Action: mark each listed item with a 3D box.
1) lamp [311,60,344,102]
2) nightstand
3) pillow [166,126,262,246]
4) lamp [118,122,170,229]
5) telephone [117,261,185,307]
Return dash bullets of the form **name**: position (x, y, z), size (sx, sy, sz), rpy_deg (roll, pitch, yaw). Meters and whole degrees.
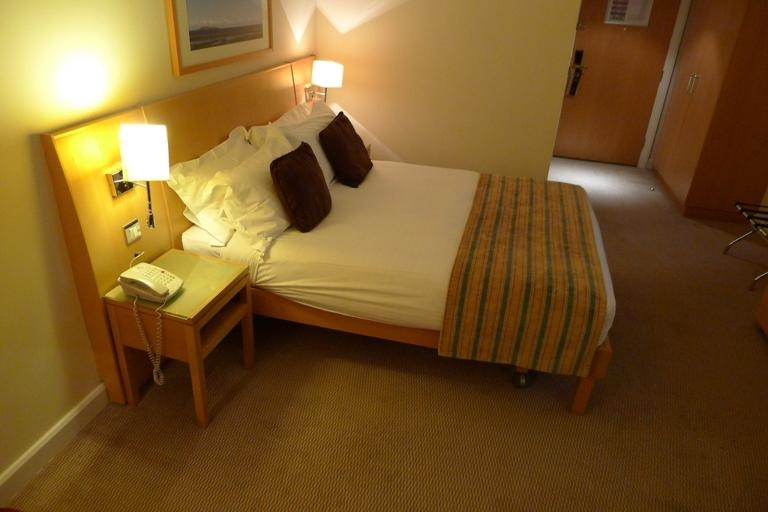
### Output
- **lamp**: position (-0.532, -1.765, 5.037), size (0.315, 0.539, 0.344), rpy_deg (1, 61, -7)
- **nightstand**: position (-1.298, 0.502, 3.497), size (0.603, 0.826, 0.731), rpy_deg (12, 28, 13)
- **pillow**: position (-1.176, -0.440, 3.577), size (0.194, 0.663, 0.649), rpy_deg (-12, 21, 44)
- **lamp**: position (-1.381, -0.459, 3.056), size (0.203, 0.529, 0.160), rpy_deg (-4, 5, -25)
- **telephone**: position (-1.399, 0.177, 3.140), size (0.299, 0.117, 0.235), rpy_deg (9, 40, 8)
